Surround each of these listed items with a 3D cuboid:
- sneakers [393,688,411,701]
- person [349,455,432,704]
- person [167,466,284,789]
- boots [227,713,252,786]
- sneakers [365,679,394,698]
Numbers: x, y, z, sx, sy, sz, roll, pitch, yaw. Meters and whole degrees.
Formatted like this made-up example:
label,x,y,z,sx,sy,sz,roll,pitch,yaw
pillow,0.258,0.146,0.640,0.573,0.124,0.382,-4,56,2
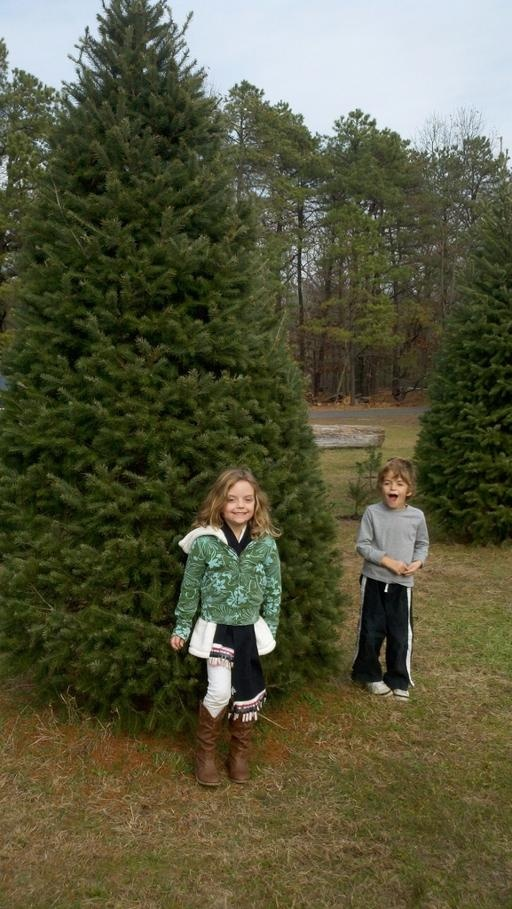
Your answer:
label,x,y,z,sx,sy,sz,roll,pitch,yaw
sneakers,0.806,1.309,3.615,0.115,0.052,0.060,0,7,-28
person,0.733,0.671,3.682,0.374,1.281,0.296,5,6,15
person,-0.120,0.692,2.723,0.413,1.257,0.321,3,6,2
boots,-0.062,1.207,2.733,0.083,0.235,0.200,6,2,-11
sneakers,0.674,1.284,3.630,0.114,0.047,0.061,-7,-4,45
